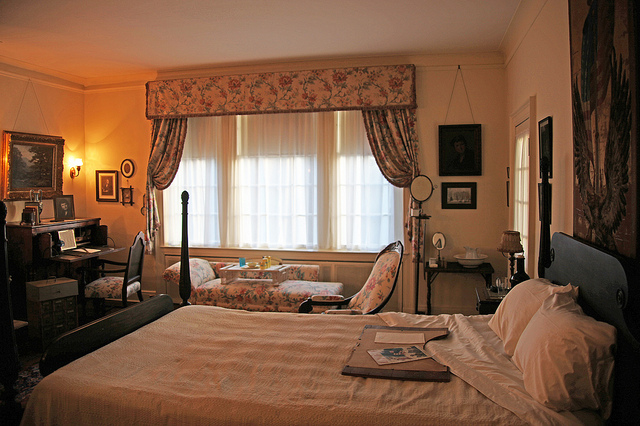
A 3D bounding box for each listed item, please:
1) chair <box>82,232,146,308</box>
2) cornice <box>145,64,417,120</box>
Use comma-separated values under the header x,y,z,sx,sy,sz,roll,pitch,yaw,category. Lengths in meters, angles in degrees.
x,y,z,sx,sy,sz,roll,pitch,yaw,category
-2.788,0.857,6.085,0.724,1.208,0.670,1,3,-11,chair
-0.596,-1.678,6.350,3.800,0.633,0.338,0,14,7,cornice
